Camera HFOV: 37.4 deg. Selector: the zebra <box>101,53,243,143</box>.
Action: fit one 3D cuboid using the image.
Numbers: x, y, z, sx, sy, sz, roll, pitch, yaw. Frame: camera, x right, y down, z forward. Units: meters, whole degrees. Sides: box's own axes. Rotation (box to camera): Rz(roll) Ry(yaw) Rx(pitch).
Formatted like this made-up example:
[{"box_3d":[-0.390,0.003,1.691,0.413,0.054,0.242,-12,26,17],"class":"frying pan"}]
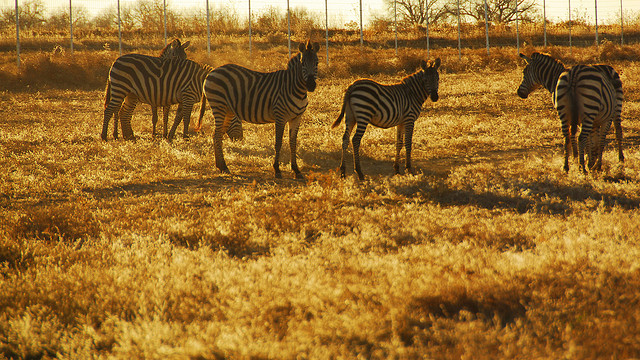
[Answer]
[{"box_3d":[-7.604,-4.017,49.656,7.448,4.851,2.133,2,6,-3],"class":"zebra"}]
